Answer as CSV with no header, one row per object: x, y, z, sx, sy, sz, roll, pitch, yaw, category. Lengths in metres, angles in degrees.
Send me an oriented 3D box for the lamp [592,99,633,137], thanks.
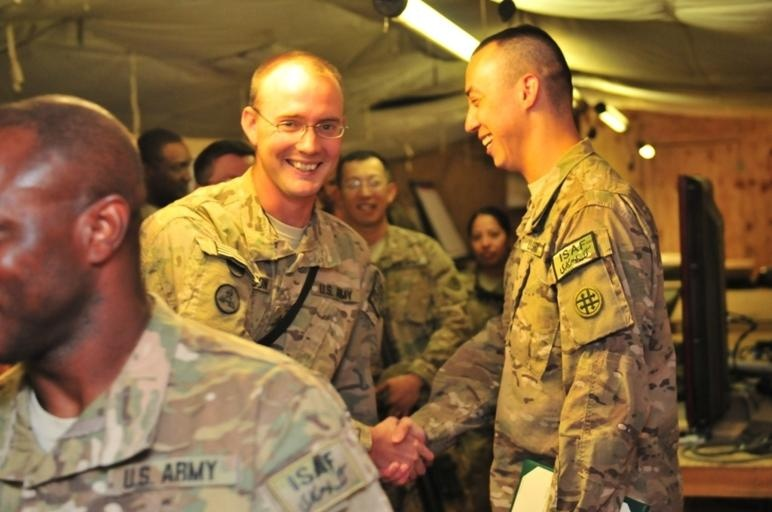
1.783,-1.110,6.750,0.386,0.222,0.089,22,-61,-40,lamp
